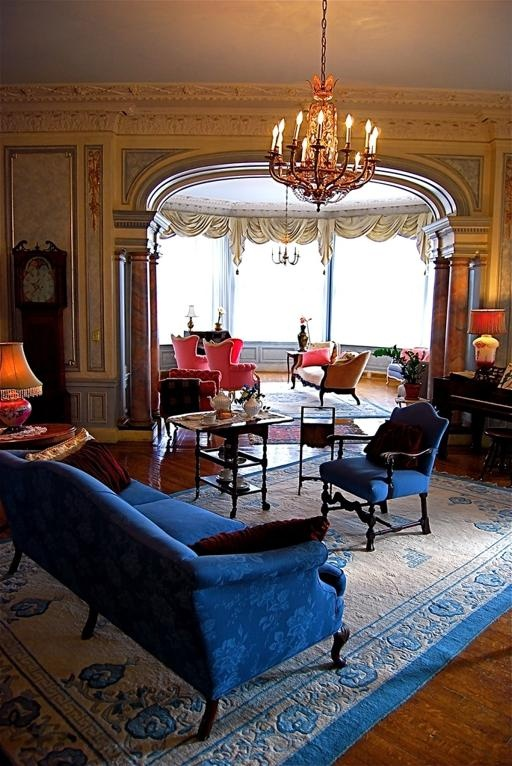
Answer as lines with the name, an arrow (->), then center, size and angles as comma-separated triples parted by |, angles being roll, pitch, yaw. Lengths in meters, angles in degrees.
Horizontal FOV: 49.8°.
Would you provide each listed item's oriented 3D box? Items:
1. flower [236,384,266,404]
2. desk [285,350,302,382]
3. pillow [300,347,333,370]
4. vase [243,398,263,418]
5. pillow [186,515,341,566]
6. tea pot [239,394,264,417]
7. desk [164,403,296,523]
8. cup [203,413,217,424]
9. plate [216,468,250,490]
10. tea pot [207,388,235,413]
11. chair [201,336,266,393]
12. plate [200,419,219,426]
flower -> -0.074, 0.084, 4.388 | 0.209, 0.106, 0.208 | 0, 1, -45
desk -> 0.738, -0.341, 10.709 | 0.260, 0.446, 0.705 | 0, 9, -1
pillow -> 1.053, -0.440, 9.607 | 0.424, 0.390, 0.128 | 21, 2, -10
vase -> -0.020, 0.185, 4.294 | 0.149, 0.168, 0.147 | 2, 13, 9
pillow -> 0.040, 0.496, 1.701 | 0.395, 0.094, 0.118 | -5, -15, -14
tea pot -> -0.033, 0.168, 4.315 | 0.161, 0.187, 0.163 | 1, 9, 0
desk -> -0.210, 0.613, 4.275 | 0.790, 0.672, 0.948 | 3, -3, -30
cup -> -0.350, 0.267, 4.155 | 0.083, 0.049, 0.061 | 1, 3, 25
plate -> -0.172, 0.738, 4.074 | 0.187, 0.045, 0.179 | 35, 33, 28
tea pot -> -0.265, 0.137, 4.290 | 0.179, 0.175, 0.134 | -4, 11, -12
chair -> -0.325, -0.258, 8.377 | 0.823, 1.001, 0.798 | -13, 19, -38
plate -> -0.335, 0.288, 4.022 | 0.124, 0.021, 0.230 | 1, 5, -6
